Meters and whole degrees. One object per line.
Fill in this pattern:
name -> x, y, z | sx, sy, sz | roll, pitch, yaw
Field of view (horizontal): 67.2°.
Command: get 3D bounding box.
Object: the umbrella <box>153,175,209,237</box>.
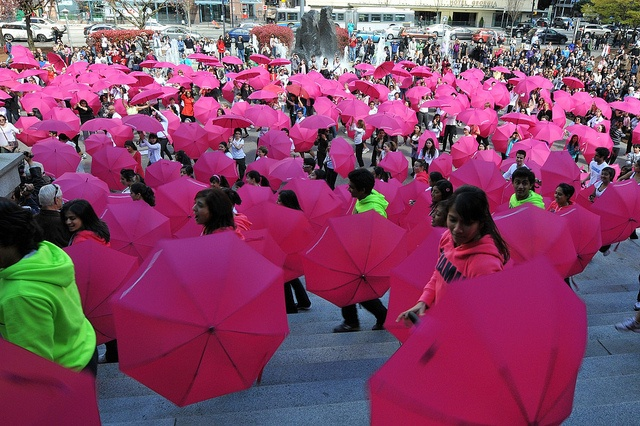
umbrella -> -2.294, -0.135, 7.893 | 0.871, 0.926, 0.597 | -7, 3, -11

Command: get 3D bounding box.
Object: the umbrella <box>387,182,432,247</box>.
umbrella -> 1.533, 0.012, 8.173 | 0.885, 0.914, 0.936 | -3, 6, 7

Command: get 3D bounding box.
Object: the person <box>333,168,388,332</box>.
person -> 0.612, 0.631, 7.446 | 1.073, 2.705, 0.842 | 3, 14, 8

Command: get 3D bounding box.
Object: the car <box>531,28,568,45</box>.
car -> 19.365, -14.938, 40.678 | 2.741, 1.397, 1.598 | -2, 37, 4

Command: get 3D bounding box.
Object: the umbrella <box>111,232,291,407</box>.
umbrella -> -1.154, 0.914, 4.891 | 1.522, 1.540, 1.018 | -36, 13, -8

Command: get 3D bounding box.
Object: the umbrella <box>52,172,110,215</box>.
umbrella -> -4.346, -0.378, 8.823 | 0.874, 0.917, 0.817 | 6, -29, -40

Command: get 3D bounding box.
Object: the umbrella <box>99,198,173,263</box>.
umbrella -> -2.669, 0.251, 7.305 | 0.911, 1.031, 0.643 | 13, -5, -1

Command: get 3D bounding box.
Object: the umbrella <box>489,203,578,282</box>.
umbrella -> 2.390, 0.237, 5.665 | 0.882, 0.942, 0.768 | -15, 13, -14

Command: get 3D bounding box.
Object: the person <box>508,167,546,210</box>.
person -> 3.157, -0.370, 7.388 | 0.494, 0.758, 0.617 | -2, 16, 0

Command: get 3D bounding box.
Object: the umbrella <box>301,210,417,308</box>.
umbrella -> 0.434, 0.484, 6.204 | 1.107, 1.144, 0.800 | 37, 6, -16

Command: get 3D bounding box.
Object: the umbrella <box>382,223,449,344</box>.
umbrella -> 0.985, 0.804, 5.119 | 0.950, 0.970, 0.938 | -10, 19, 4
